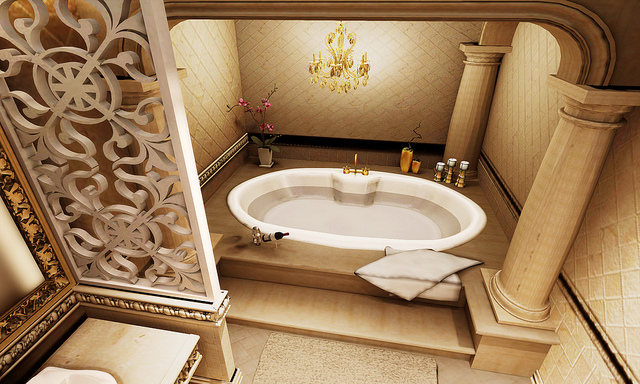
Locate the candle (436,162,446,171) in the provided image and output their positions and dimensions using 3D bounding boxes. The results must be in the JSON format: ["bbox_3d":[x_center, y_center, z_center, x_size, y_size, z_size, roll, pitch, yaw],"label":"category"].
[{"bbox_3d":[1.502,-0.313,4.847,0.100,0.093,0.095,-3,32,3],"label":"candle"}]

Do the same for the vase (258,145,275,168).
[{"bbox_3d":[-0.717,-0.479,5.168,0.213,0.303,0.155,-6,19,-16],"label":"vase"}]

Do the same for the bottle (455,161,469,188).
[{"bbox_3d":[1.733,-0.222,4.759,0.127,0.313,0.183,6,20,19],"label":"bottle"}]

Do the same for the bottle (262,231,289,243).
[{"bbox_3d":[-0.440,0.457,3.847,0.267,0.132,0.144,-3,18,-9],"label":"bottle"}]

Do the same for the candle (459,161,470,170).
[{"bbox_3d":[1.752,-0.313,4.717,0.099,0.090,0.095,-7,28,2],"label":"candle"}]

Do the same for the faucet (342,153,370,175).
[{"bbox_3d":[0.485,-0.361,5.119,0.328,0.273,0.074,4,34,7],"label":"faucet"}]

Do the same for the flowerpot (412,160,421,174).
[{"bbox_3d":[1.212,-0.308,4.980,0.140,0.183,0.134,3,17,10],"label":"flowerpot"}]

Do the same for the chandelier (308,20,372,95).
[{"bbox_3d":[0.258,-1.554,4.486,0.788,0.873,1.152,-1,18,-1],"label":"chandelier"}]

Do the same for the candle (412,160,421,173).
[{"bbox_3d":[1.223,-0.321,4.977,0.135,0.177,0.136,7,14,32],"label":"candle"}]

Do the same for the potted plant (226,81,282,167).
[{"bbox_3d":[-0.854,-0.889,5.180,0.647,1.080,0.637,-3,19,-6],"label":"potted plant"}]
